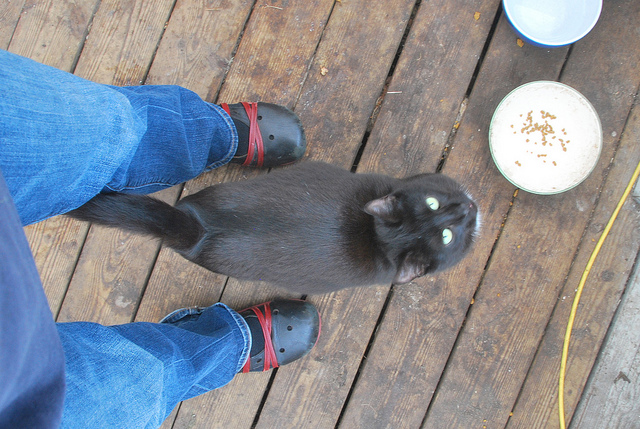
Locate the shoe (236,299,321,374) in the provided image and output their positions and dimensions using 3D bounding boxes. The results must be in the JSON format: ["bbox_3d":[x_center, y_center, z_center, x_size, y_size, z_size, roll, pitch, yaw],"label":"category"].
[{"bbox_3d":[-0.346,0.741,3.731,0.869,0.296,0.380,-15,68,33],"label":"shoe"}]
